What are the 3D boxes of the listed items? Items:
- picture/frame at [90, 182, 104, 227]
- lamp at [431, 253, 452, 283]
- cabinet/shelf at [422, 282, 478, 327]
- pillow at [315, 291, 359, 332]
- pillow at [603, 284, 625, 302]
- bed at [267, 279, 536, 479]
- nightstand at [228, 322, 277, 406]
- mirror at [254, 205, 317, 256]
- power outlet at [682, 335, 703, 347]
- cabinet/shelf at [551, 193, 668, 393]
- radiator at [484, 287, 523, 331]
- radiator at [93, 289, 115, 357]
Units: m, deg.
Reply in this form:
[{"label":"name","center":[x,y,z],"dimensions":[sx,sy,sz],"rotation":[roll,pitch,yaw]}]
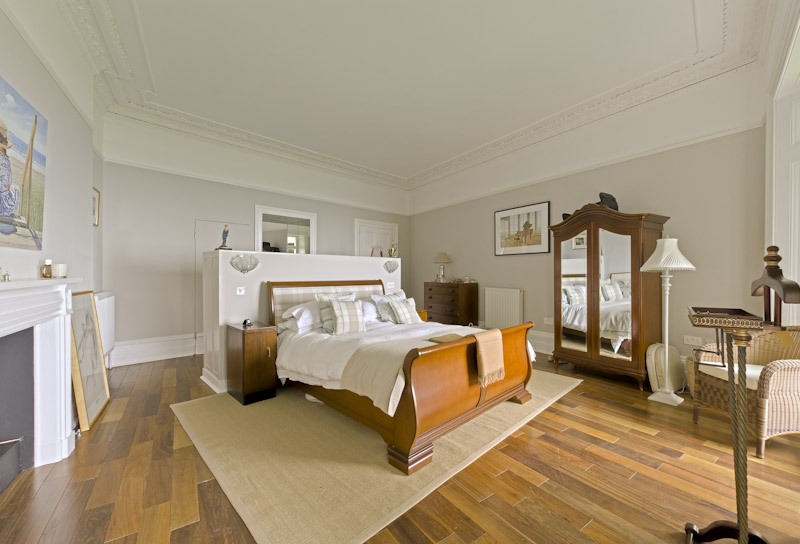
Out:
[{"label":"picture/frame","center":[-4.343,-0.969,6.403],"dimensions":[0.093,0.869,0.727],"rotation":[-1,5,-27]},{"label":"lamp","center":[0.911,-0.101,9.577],"dimensions":[0.339,0.592,0.653],"rotation":[0,0,7]},{"label":"cabinet/shelf","center":[0.962,0.546,9.114],"dimensions":[0.485,0.852,0.879],"rotation":[-13,19,-42]},{"label":"pillow","center":[-0.949,0.617,6.225],"dimensions":[0.519,0.531,0.157],"rotation":[-1,-22,-29]},{"label":"pillow","center":[2.977,0.293,6.267],"dimensions":[0.068,0.221,0.232],"rotation":[-5,-16,-39]},{"label":"bed","center":[-0.189,1.028,6.317],"dimensions":[3.456,1.696,2.854],"rotation":[2,5,38]},{"label":"nightstand","center":[-1.988,1.180,5.995],"dimensions":[0.523,0.930,0.652],"rotation":[-1,4,-35]},{"label":"mirror","center":[-2.239,-0.804,8.523],"dimensions":[1.074,0.956,0.084],"rotation":[-2,7,-44]},{"label":"power outlet","center":[4.045,0.953,6.189],"dimensions":[0.021,0.117,0.158],"rotation":[-3,7,-32]},{"label":"cabinet/shelf","center":[2.949,0.249,6.632],"dimensions":[0.688,2.470,1.465],"rotation":[-3,3,-41]},{"label":"radiator","center":[1.883,0.656,8.045],"dimensions":[0.083,0.761,0.731],"rotation":[1,1,-33]},{"label":"radiator","center":[-4.010,0.695,6.049],"dimensions":[0.289,0.902,0.919],"rotation":[-2,3,-30]}]
